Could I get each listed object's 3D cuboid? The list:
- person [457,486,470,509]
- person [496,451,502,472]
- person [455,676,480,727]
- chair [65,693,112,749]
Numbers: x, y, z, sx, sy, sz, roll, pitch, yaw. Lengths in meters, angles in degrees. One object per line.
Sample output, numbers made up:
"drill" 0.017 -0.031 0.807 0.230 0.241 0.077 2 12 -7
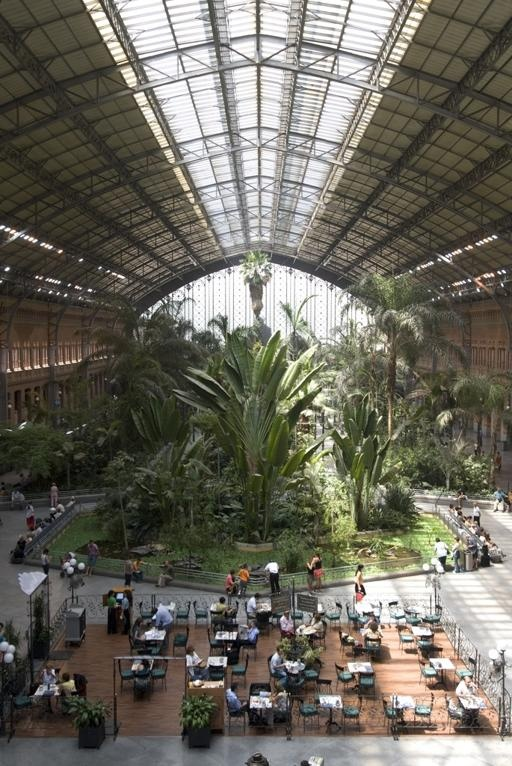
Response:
"person" 9.029 4.987 23.297 0.559 1.358 0.720 -1 -11 18
"person" 13.614 4.506 30.126 0.266 1.131 2.638 -2 -3 23
"person" 2.812 4.272 7.128 0.264 0.480 0.876 -2 -3 20
"chair" -2.073 4.104 6.752 0.473 0.648 0.622 1 1 13
